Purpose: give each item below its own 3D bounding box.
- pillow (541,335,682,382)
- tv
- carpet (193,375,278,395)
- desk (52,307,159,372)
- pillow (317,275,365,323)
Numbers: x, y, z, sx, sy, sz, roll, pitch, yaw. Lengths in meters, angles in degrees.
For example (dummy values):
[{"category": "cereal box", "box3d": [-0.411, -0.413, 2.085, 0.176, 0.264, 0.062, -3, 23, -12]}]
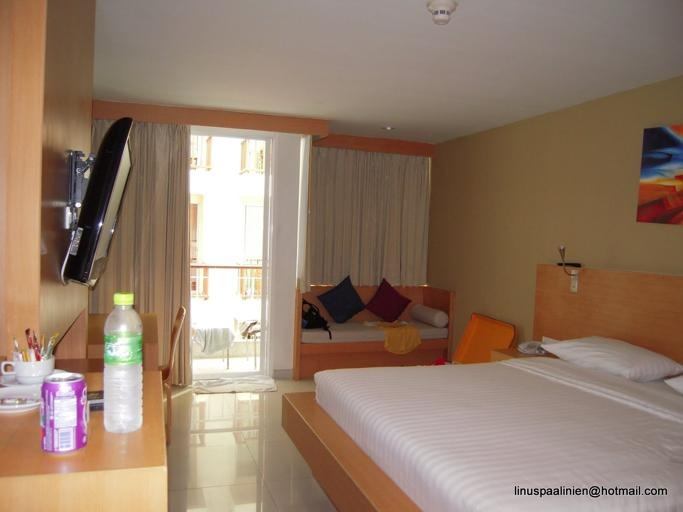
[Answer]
[{"category": "pillow", "box3d": [2.031, 0.764, 3.869, 0.380, 0.195, 0.886, -3, 6, -32]}, {"category": "tv", "box3d": [-1.161, -0.237, 2.457, 0.324, 0.813, 0.632, -3, 7, -25]}, {"category": "carpet", "box3d": [-1.155, 1.400, 5.587, 0.900, 0.035, 0.490, -1, 5, -8]}, {"category": "desk", "box3d": [-1.541, 0.576, 3.383, 0.608, 0.422, 0.310, 14, -30, -39]}, {"category": "pillow", "box3d": [-0.008, 0.542, 6.223, 0.524, 0.491, 0.155, -37, 2, -23]}]
